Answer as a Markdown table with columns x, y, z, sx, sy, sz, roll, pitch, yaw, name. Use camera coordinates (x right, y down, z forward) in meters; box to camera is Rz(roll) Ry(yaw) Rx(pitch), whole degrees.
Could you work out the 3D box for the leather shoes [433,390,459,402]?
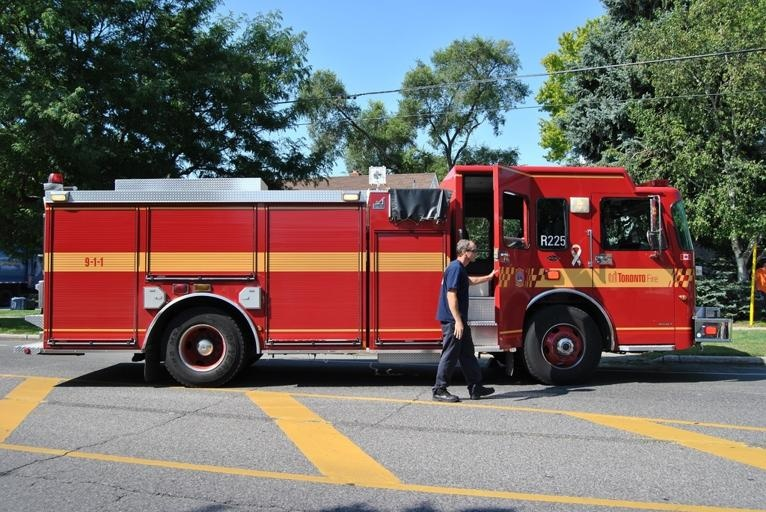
| x | y | z | sx | sy | sz | roll | pitch | yaw | name |
| --- | --- | --- | --- | --- | --- | --- | --- | --- | --- |
| 1.104 | 2.451 | 12.844 | 0.390 | 0.198 | 0.209 | -1 | -3 | 9 | leather shoes |
